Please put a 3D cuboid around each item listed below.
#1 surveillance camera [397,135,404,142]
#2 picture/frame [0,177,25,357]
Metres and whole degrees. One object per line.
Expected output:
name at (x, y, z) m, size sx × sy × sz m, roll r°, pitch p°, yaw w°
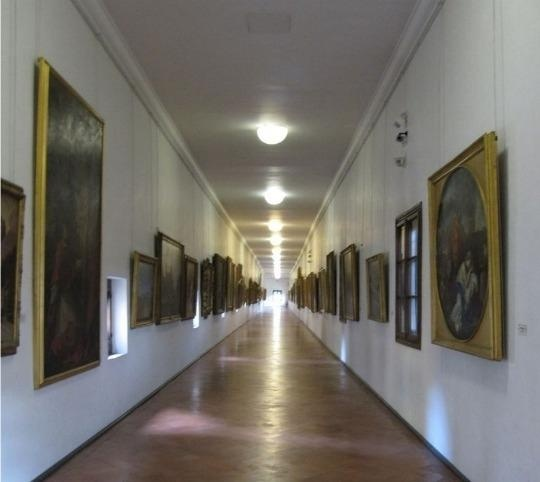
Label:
surveillance camera at (2.135, -1.695, 7.281) m, size 0.075 × 0.150 × 0.049 m, roll 3°, pitch 4°, yaw 31°
picture/frame at (-2.448, 0.269, 4.156) m, size 0.106 × 1.618 × 0.485 m, roll 1°, pitch -5°, yaw -10°
